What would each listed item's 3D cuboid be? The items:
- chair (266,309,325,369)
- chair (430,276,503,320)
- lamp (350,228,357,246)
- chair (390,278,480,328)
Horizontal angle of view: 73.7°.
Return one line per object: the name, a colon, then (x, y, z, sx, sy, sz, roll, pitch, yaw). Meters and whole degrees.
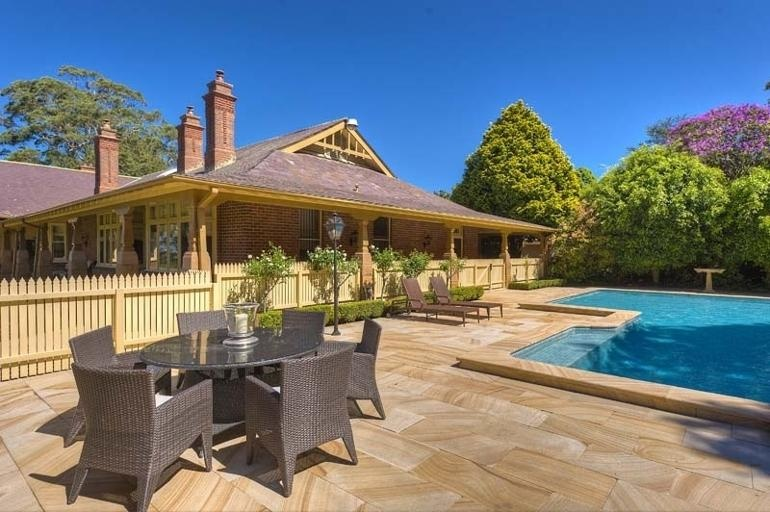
chair: (-1.844, 1.629, 11.369, 0.930, 1.497, 1.035, -1, -10, 10)
chair: (2.532, 1.372, 16.573, 2.194, 1.228, 1.139, 3, 4, 35)
lamp: (-1.278, -0.794, 21.042, 0.336, 0.617, 0.111, -1, -2, -40)
chair: (1.692, 1.333, 16.464, 2.508, 1.242, 1.135, -1, 0, 42)
